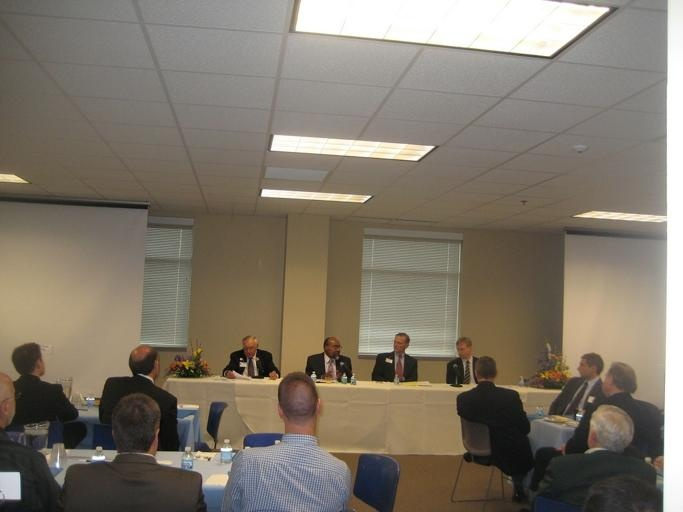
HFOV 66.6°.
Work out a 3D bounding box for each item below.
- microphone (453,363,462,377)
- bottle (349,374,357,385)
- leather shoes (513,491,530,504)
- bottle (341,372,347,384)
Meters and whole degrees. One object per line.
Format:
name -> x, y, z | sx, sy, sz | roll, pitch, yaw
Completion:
microphone -> 1.814, 1.817, 8.096 | 0.092, 0.167, 0.155 | -1, -6, 5
bottle -> 0.172, 1.811, 7.501 | 0.083, 0.151, 0.084 | 0, -2, 0
leather shoes -> 1.998, 2.727, 5.803 | 0.174, 0.177, 0.082 | 3, -3, -24
bottle -> 0.076, 1.818, 7.609 | 0.096, 0.147, 0.097 | 0, -11, 0
